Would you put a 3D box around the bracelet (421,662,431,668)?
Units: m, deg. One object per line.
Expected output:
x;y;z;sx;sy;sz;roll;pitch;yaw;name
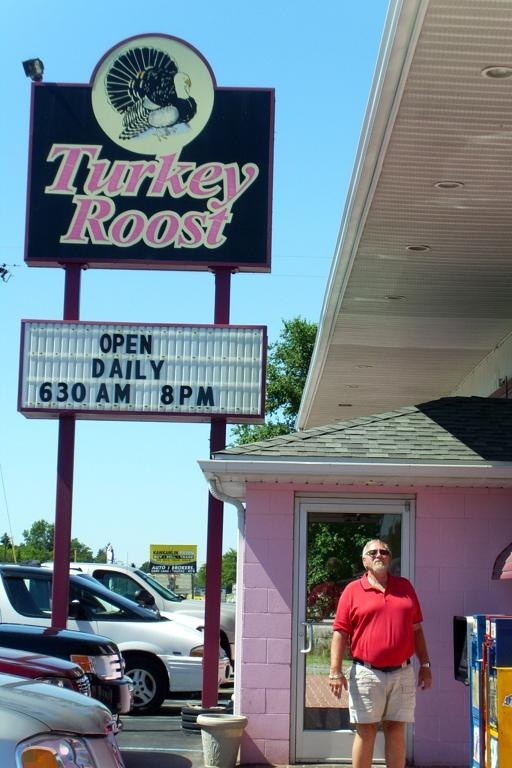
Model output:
1.202;2.021;8.429;0.056;0.018;0.052;3;-7;-43;bracelet

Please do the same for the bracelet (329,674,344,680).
0.554;2.014;8.094;0.094;0.047;0.164;2;-8;3;bracelet

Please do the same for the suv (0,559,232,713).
-1.555;2.775;13.240;2.325;1.236;1.428;0;-9;-3;suv
